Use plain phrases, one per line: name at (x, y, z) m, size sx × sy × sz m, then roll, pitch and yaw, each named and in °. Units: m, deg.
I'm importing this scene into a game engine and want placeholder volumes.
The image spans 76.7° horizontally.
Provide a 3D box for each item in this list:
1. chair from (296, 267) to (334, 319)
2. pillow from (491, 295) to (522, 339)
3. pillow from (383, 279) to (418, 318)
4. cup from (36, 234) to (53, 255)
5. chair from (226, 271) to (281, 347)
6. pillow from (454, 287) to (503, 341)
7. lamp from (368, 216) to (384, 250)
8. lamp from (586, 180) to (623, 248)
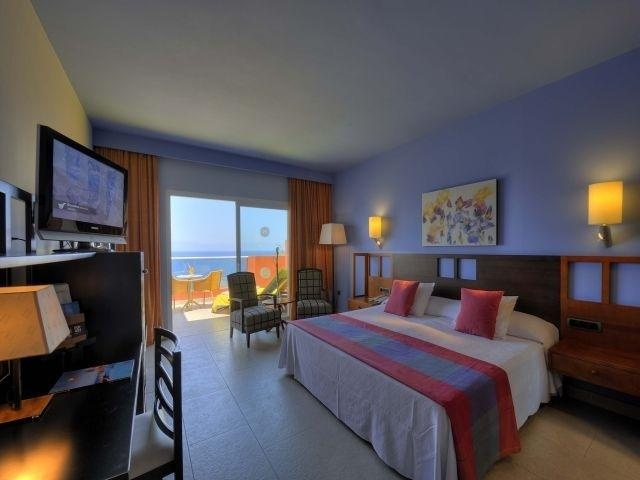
chair at (-0.109, 0.909, 6.069) m, size 0.565 × 1.006 × 0.643 m, roll -2°, pitch -3°, yaw 3°
pillow at (1.791, 0.751, 3.932) m, size 0.330 × 0.342 × 0.104 m, roll 4°, pitch -20°, yaw 0°
pillow at (0.946, 0.664, 4.711) m, size 0.137 × 0.378 × 0.365 m, roll 33°, pitch -22°, yaw -26°
cup at (-2.180, 0.040, 3.183) m, size 0.108 × 0.135 × 0.121 m, roll 9°, pitch 5°, yaw -14°
chair at (-0.940, 0.896, 5.502) m, size 0.596 × 0.901 × 0.602 m, roll 1°, pitch 4°, yaw 44°
pillow at (1.561, 0.745, 3.975) m, size 0.172 × 0.458 × 0.381 m, roll 33°, pitch -21°, yaw -26°
lamp at (0.778, -0.123, 5.872) m, size 0.192 × 0.449 × 0.304 m, roll -1°, pitch -1°, yaw -21°
lamp at (2.596, -0.223, 3.676) m, size 0.272 × 0.687 × 0.141 m, roll -2°, pitch -1°, yaw 37°
